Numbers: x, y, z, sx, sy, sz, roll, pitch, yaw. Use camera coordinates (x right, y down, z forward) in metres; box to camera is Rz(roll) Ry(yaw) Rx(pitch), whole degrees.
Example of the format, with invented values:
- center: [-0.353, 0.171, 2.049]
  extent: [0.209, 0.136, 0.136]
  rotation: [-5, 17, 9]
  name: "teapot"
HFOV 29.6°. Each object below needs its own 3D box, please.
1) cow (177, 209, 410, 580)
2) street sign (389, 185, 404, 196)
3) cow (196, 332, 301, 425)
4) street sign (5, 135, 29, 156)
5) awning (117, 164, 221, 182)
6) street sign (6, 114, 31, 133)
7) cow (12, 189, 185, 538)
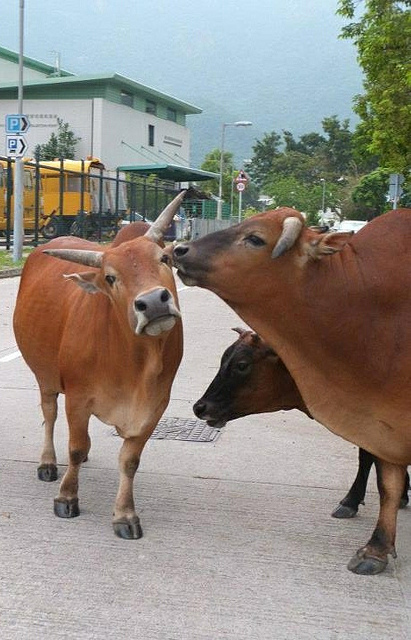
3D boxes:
- center: [0.465, 0.319, 3.544]
  extent: [0.940, 1.636, 0.592]
  rotation: [3, 10, 6]
  name: "cow"
- center: [5.224, -3.570, 21.545]
  extent: [0.412, 0.299, 0.084]
  rotation: [3, -1, 7]
  name: "street sign"
- center: [0.223, 0.310, 4.097]
  extent: [0.646, 0.281, 0.434]
  rotation: [-5, -2, -1]
  name: "cow"
- center: [-4.565, -4.231, 18.867]
  extent: [0.473, 0.511, 0.667]
  rotation: [0, 8, -13]
  name: "street sign"
- center: [-1.843, -8.140, 43.217]
  extent: [3.280, 0.962, 7.813]
  rotation: [4, 8, 18]
  name: "awning"
- center: [-4.451, -4.666, 18.459]
  extent: [0.507, 0.452, 1.134]
  rotation: [0, 8, -14]
  name: "street sign"
- center: [-0.557, 0.258, 4.463]
  extent: [0.977, 1.616, 2.441]
  rotation: [-1, 3, -17]
  name: "cow"
